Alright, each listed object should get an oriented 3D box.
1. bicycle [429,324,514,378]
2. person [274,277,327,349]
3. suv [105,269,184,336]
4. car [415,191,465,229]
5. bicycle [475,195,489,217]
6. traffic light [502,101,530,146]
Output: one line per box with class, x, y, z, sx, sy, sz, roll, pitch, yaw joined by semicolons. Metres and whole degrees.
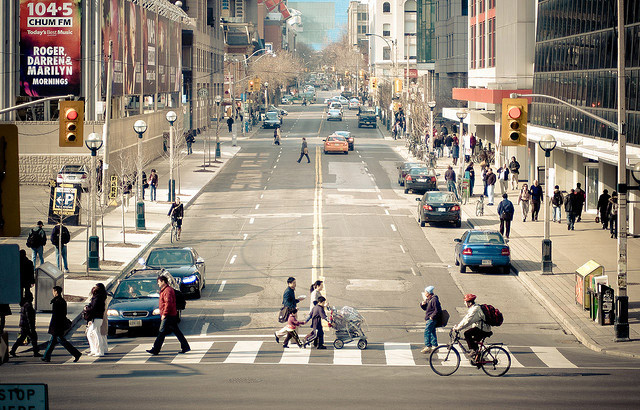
bicycle;4.971;4.777;31.490;2.607;1.607;1.363;1;0;7
person;-0.681;3.832;33.615;1.247;2.745;1.078;0;2;1
suv;-6.589;3.548;35.402;2.132;2.752;3.715;1;-1;0
car;6.427;0.331;50.881;2.135;1.891;1.242;2;10;12
bicycle;9.286;0.137;54.523;0.652;0.822;1.359;1;2;11
traffic light;7.934;-3.346;38.867;0.941;1.870;1.106;1;10;8
